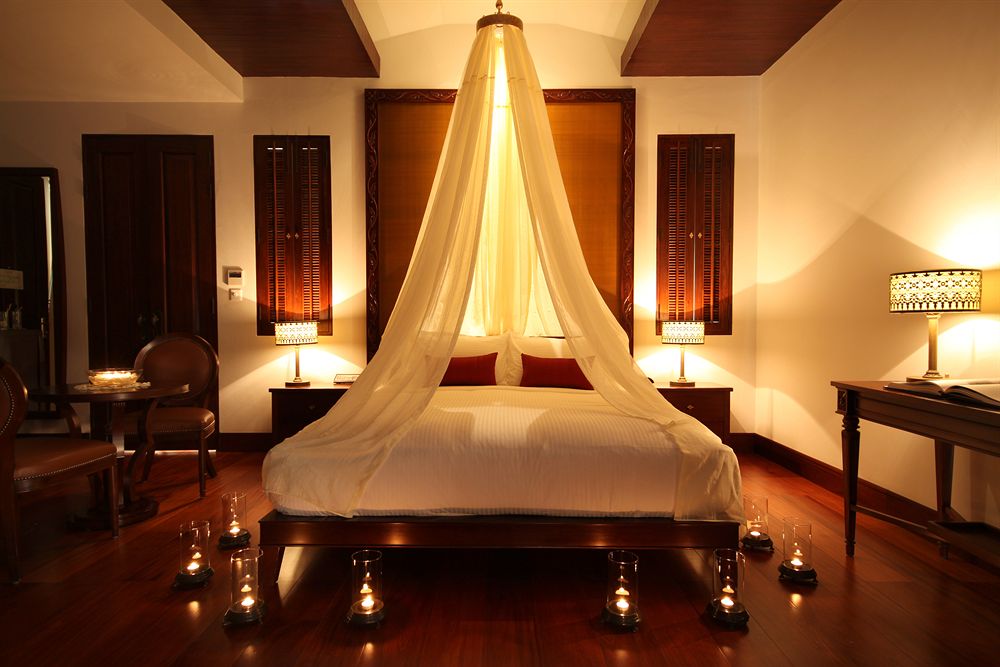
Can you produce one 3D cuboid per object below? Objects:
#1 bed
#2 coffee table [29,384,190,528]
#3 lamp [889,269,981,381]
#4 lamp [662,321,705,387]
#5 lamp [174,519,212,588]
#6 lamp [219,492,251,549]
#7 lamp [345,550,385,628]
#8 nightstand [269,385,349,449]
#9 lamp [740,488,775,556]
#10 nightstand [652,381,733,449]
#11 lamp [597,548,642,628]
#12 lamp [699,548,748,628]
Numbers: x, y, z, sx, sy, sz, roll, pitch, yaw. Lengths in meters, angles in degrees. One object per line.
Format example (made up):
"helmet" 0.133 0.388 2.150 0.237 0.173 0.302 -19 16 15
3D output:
"bed" 0.003 0.749 5.729 4.006 1.278 2.111 -2 6 -1
"coffee table" -2.750 0.824 5.667 0.930 0.885 0.990 -4 -6 -1
"lamp" 2.834 -0.077 4.988 0.489 0.693 0.357 3 7 37
"lamp" 1.637 0.178 6.907 0.515 0.762 0.316 0 -4 2
"lamp" -1.943 1.354 4.834 0.219 0.378 0.355 -4 6 -23
"lamp" -1.751 1.279 5.282 0.282 0.367 0.297 0 -3 -9
"lamp" -0.787 1.447 4.485 0.218 0.408 0.266 -3 6 -11
"nightstand" -1.631 0.617 6.797 0.757 0.755 0.456 0 0 -2
"lamp" 1.758 1.282 5.219 0.213 0.299 0.433 0 6 20
"nightstand" 1.724 0.652 6.889 0.647 0.670 0.453 0 -1 0
"lamp" 0.681 1.473 4.551 0.331 0.490 0.329 -1 2 0
"lamp" 1.318 1.477 4.446 0.235 0.429 0.132 0 6 18
